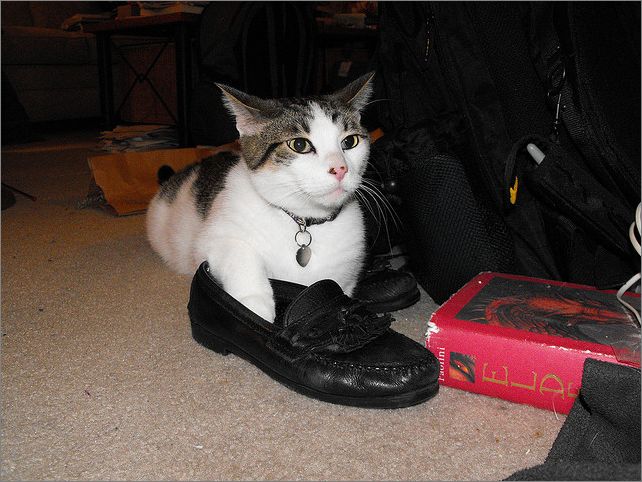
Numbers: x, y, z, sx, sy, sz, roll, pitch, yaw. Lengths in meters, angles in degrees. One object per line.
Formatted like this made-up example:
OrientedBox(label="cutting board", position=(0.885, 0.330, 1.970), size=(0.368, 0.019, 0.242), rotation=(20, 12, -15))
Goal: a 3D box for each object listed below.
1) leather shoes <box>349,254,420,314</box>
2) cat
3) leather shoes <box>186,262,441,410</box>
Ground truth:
OrientedBox(label="leather shoes", position=(0.162, 0.070, 1.313), size=(0.112, 0.105, 0.246), rotation=(-8, 28, -25))
OrientedBox(label="cat", position=(-0.211, -0.182, 1.437), size=(0.498, 0.575, 0.925), rotation=(-13, 24, -32))
OrientedBox(label="leather shoes", position=(-0.040, 0.173, 1.040), size=(0.507, 0.197, 0.203), rotation=(10, 28, 21))
